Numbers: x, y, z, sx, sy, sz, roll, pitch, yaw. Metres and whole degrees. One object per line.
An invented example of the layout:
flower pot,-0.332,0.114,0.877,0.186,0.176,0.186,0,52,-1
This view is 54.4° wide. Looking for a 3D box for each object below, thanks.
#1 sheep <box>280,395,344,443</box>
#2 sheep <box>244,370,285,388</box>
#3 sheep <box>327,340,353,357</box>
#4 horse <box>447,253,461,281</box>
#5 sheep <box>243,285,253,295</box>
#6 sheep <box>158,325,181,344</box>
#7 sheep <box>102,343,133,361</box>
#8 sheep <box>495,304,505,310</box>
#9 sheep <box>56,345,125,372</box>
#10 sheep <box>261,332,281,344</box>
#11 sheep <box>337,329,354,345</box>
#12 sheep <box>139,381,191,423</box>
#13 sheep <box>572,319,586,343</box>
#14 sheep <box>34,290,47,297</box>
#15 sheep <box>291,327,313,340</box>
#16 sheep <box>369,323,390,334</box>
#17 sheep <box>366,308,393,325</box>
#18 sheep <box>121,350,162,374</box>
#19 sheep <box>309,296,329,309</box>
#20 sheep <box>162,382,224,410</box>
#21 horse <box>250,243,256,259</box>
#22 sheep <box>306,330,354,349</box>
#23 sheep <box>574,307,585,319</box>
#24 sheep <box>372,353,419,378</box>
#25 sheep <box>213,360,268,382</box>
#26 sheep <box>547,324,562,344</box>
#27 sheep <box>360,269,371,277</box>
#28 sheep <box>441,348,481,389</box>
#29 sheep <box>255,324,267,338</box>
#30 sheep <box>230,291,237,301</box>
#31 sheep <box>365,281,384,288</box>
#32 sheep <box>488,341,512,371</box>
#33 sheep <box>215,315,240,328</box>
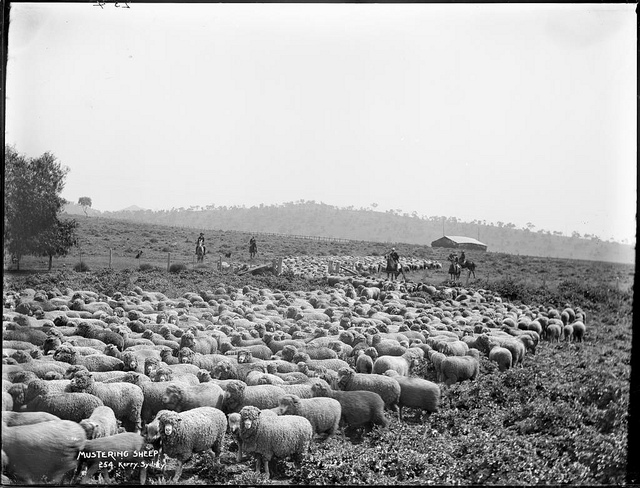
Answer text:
sheep,-0.166,3.465,12.304,1.331,0.944,0.669,12,-15,-27
sheep,-1.129,2.734,12.619,0.584,0.389,0.315,10,9,16
sheep,0.452,2.312,13.943,0.463,0.289,0.255,7,-2,-39
horse,3.814,0.642,17.621,0.145,0.713,0.519,3,0,-32
sheep,-1.934,1.228,16.772,0.313,0.244,0.208,3,-1,-30
sheep,-3.385,1.948,14.086,0.404,0.249,0.810,12,8,-29
sheep,-4.340,2.294,13.282,0.274,0.332,0.562,2,-19,8
sheep,4.825,1.684,16.748,0.301,0.136,0.196,3,0,-16
sheep,-4.781,2.389,12.891,0.958,0.553,0.327,9,1,0
sheep,-1.073,2.101,14.049,0.198,0.183,0.333,22,14,29
sheep,0.604,2.117,14.350,0.245,0.256,0.334,6,-44,-6
sheep,-3.181,3.130,12.419,0.548,0.949,1.328,15,-10,-20
sheep,6.653,2.229,16.112,0.225,0.586,0.471,-8,-25,15
sheep,-6.983,1.211,15.593,0.271,0.137,0.198,3,0,-24
sheep,-0.376,2.079,14.489,0.401,0.255,0.896,3,0,14
sheep,1.427,2.018,14.985,0.516,0.183,0.292,5,27,-2
sheep,1.527,1.844,15.922,0.711,0.359,0.259,33,29,27
sheep,-3.672,2.437,12.957,0.621,0.465,0.674,3,-1,37
sheep,-0.017,1.583,16.751,0.453,0.345,0.232,11,12,28
sheep,-2.516,3.047,12.332,1.134,0.752,0.486,5,-6,-16
horse,-1.888,0.211,17.395,0.111,0.427,0.249,-1,0,-7
sheep,0.247,2.175,14.156,1.092,0.380,0.584,3,0,-3
sheep,6.840,1.796,16.382,0.151,0.325,0.173,-2,-34,-10
sheep,1.699,2.599,13.544,1.000,0.666,0.434,0,6,-27
sheep,-1.744,2.643,13.039,1.222,0.633,0.427,4,-9,-21
sheep,5.994,2.279,15.824,0.463,0.429,0.213,3,-1,-29
sheep,1.352,0.858,18.333,0.323,0.204,0.135,3,0,-1
sheep,3.227,2.865,14.116,1.219,0.897,0.582,0,0,-33
sheep,-1.369,1.993,14.468,0.153,0.344,0.192,-3,6,-4
sheep,-2.261,1.358,16.330,0.183,0.227,0.262,3,0,5
sheep,1.592,1.163,18.058,0.527,0.314,0.202,2,-1,-1
sheep,4.196,2.607,14.498,0.532,0.587,0.340,3,0,16
sheep,-2.239,1.851,14.779,0.323,0.182,0.195,9,5,-12
